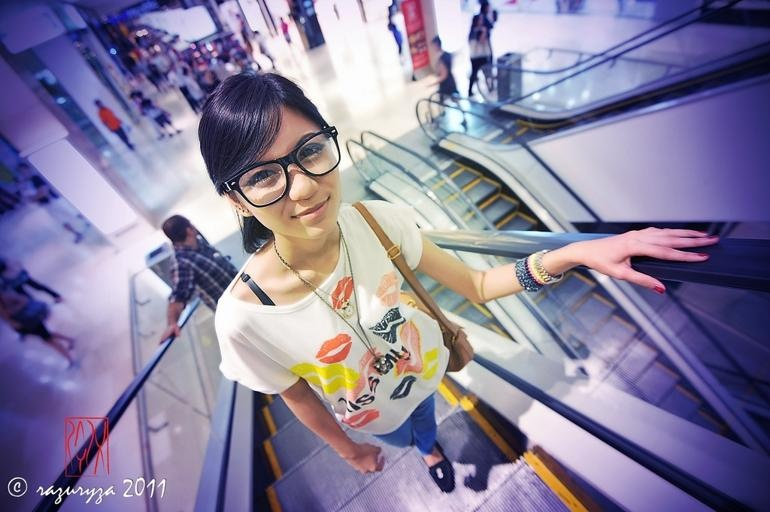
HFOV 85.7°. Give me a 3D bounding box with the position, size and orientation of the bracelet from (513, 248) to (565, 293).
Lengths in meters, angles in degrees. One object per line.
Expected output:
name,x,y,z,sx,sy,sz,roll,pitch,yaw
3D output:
bracelet,1.112,0.097,3.010,0.248,0.322,0.261,-25,81,27

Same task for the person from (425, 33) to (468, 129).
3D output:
person,1.069,-3.330,7.970,0.554,1.664,0.481,-11,60,13

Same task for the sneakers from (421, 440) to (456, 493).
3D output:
sneakers,0.479,1.806,3.648,0.152,0.154,0.420,-25,70,4
